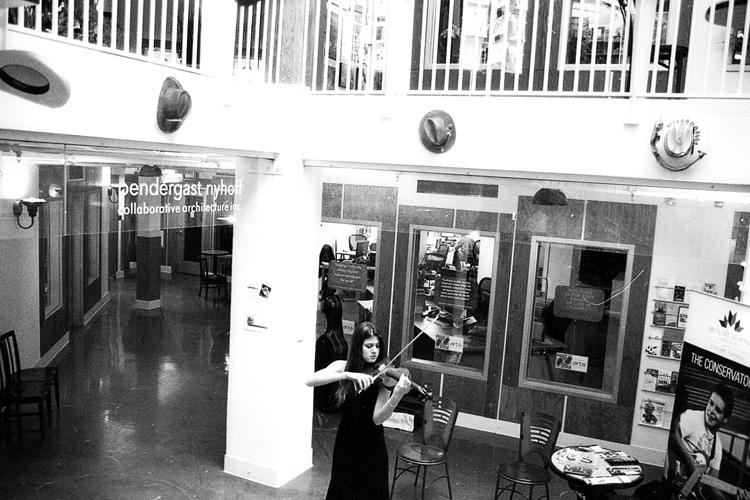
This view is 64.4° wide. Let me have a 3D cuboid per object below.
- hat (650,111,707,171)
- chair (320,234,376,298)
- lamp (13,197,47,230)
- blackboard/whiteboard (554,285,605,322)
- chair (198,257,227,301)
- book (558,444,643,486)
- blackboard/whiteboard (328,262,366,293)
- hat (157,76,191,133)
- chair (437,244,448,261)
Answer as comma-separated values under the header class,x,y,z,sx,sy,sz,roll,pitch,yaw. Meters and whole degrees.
class,x,y,z,sx,sy,sz,roll,pitch,yaw
hat,2.876,-0.997,5.731,0.609,0.164,0.622,-14,-28,37
chair,-0.453,0.205,9.715,0.899,1.511,0.949,0,10,-9
lamp,-2.942,-0.311,5.085,0.243,0.272,0.133,-2,11,-33
blackboard/whiteboard,2.906,0.734,8.426,0.509,0.382,0.069,4,14,24
chair,-4.457,0.748,16.426,0.819,1.083,0.813,1,5,9
book,2.608,2.561,7.110,1.055,0.122,0.854,5,9,3
blackboard/whiteboard,-0.434,0.406,9.424,0.429,0.322,0.059,7,8,12
hat,-2.013,-1.447,5.974,0.124,0.556,0.340,9,10,26
chair,0.981,0.015,8.600,0.158,0.205,0.210,7,23,8
